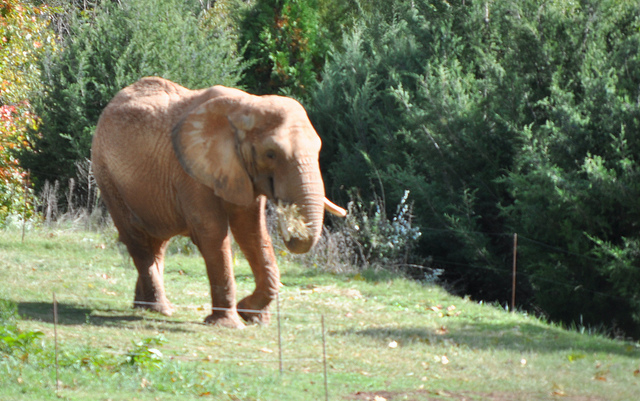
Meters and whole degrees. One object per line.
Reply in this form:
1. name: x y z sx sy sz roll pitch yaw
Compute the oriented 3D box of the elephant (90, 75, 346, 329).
1. elephant: -2.273 0.129 17.927 5.513 5.048 2.762 6 10 34
